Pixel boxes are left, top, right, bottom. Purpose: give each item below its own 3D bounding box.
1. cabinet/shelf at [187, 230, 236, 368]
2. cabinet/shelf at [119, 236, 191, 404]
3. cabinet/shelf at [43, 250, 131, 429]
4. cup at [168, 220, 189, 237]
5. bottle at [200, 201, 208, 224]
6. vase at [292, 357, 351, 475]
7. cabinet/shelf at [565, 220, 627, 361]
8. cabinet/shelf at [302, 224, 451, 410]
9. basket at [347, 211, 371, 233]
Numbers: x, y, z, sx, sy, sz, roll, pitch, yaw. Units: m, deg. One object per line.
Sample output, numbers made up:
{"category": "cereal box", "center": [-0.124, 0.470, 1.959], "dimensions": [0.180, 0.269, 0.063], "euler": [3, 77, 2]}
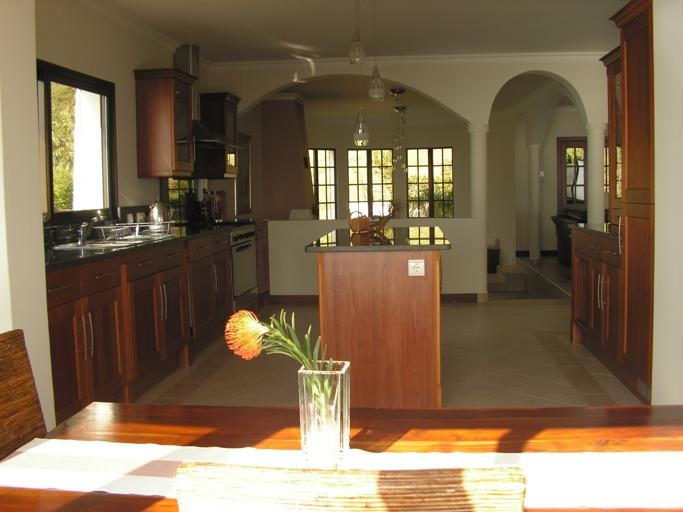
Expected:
{"category": "cabinet/shelf", "center": [-1.139, 0.377, 4.615], "dimensions": [0.369, 0.941, 1.035], "euler": [-1, 6, 0]}
{"category": "cabinet/shelf", "center": [-1.358, 0.464, 3.878], "dimensions": [0.376, 0.957, 1.035], "euler": [-1, 5, 1]}
{"category": "cabinet/shelf", "center": [-1.393, 0.431, 2.909], "dimensions": [0.325, 0.831, 0.900], "euler": [-1, 4, -1]}
{"category": "cup", "center": [-1.499, -0.250, 4.921], "dimensions": [0.170, 0.117, 0.172], "euler": [1, -1, 0]}
{"category": "bottle", "center": [-1.561, -0.510, 6.121], "dimensions": [0.081, 0.213, 0.047], "euler": [-5, 11, -19]}
{"category": "vase", "center": [-0.030, 0.342, 1.219], "dimensions": [0.111, 0.225, 0.161], "euler": [3, 11, 20]}
{"category": "cabinet/shelf", "center": [1.996, 0.296, 4.208], "dimensions": [0.371, 0.964, 1.027], "euler": [0, 7, 6]}
{"category": "cabinet/shelf", "center": [0.262, 0.288, 3.572], "dimensions": [1.003, 1.566, 0.863], "euler": [-1, 8, 4]}
{"category": "basket", "center": [0.136, -0.248, 3.910], "dimensions": [0.162, 0.177, 0.115], "euler": [-4, 8, -22]}
